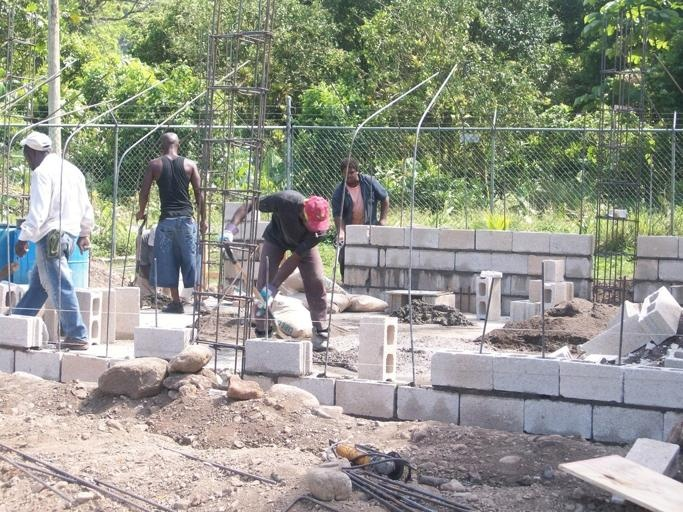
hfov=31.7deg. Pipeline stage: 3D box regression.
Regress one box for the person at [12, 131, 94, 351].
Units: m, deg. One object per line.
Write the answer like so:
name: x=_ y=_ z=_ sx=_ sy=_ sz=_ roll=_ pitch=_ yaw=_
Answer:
person: x=-3.394 y=-0.187 z=14.197 sx=0.902 sy=2.116 sz=0.849 roll=1 pitch=0 yaw=-17

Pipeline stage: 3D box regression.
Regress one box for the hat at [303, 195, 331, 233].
hat: x=-0.275 y=-0.525 z=13.934 sx=0.313 sy=0.291 sz=0.505 roll=-4 pitch=32 yaw=-19

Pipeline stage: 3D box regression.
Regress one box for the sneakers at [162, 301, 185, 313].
sneakers: x=-2.226 y=0.685 z=16.024 sx=0.310 sy=0.153 sz=0.119 roll=4 pitch=3 yaw=29

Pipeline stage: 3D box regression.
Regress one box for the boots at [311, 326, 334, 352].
boots: x=-0.241 y=1.008 z=14.098 sx=0.298 sy=0.335 sz=0.143 roll=-1 pitch=3 yaw=3

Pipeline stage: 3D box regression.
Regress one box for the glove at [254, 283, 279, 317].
glove: x=-0.888 y=0.523 z=13.867 sx=0.146 sy=0.501 sz=0.186 roll=31 pitch=42 yaw=19

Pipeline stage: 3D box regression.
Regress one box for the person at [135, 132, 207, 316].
person: x=-2.304 y=-0.413 z=16.132 sx=0.837 sy=2.464 sz=0.677 roll=-1 pitch=2 yaw=-13

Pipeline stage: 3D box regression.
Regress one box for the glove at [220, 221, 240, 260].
glove: x=-1.290 y=-0.182 z=13.786 sx=0.110 sy=0.365 sz=0.252 roll=9 pitch=-6 yaw=-7

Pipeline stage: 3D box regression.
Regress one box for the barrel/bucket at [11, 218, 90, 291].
barrel/bucket: x=-3.830 y=0.028 z=15.830 sx=0.860 sy=1.060 sz=0.950 roll=1 pitch=3 yaw=-10

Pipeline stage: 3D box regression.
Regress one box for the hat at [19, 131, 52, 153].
hat: x=-3.655 y=-1.382 z=14.314 sx=0.336 sy=0.194 sz=0.256 roll=24 pitch=13 yaw=18

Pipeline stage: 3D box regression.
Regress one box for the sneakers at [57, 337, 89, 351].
sneakers: x=-3.161 y=1.029 z=14.159 sx=0.349 sy=0.187 sz=0.139 roll=1 pitch=6 yaw=-1
